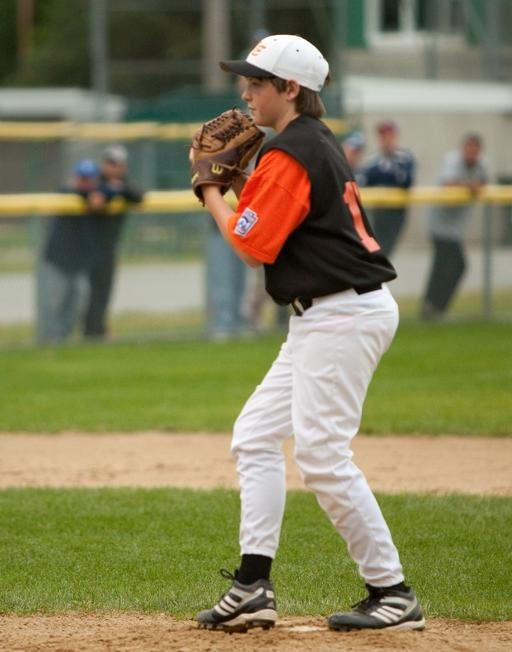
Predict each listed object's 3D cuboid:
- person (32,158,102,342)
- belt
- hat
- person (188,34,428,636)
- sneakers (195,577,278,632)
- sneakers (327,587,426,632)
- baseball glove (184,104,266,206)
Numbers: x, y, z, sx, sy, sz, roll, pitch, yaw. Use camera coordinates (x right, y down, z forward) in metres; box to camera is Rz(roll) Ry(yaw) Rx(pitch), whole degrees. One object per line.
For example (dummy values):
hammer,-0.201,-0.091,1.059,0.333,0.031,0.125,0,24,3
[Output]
person,-0.789,-0.281,5.775,0.286,0.905,0.240,2,20,-8
belt,0.253,-0.095,4.423,0.200,0.082,0.145,-22,2,22
hat,0.066,-0.883,4.457,0.365,0.185,0.245,2,12,-10
person,0.173,0.016,4.534,0.774,1.970,0.608,-1,11,-2
sneakers,-0.073,0.928,4.530,0.310,0.211,0.106,-14,-15,30
sneakers,0.417,0.951,4.440,0.365,0.171,0.128,1,-7,-2
baseball glove,-0.111,-0.592,4.625,0.149,0.303,0.243,29,-18,-13
